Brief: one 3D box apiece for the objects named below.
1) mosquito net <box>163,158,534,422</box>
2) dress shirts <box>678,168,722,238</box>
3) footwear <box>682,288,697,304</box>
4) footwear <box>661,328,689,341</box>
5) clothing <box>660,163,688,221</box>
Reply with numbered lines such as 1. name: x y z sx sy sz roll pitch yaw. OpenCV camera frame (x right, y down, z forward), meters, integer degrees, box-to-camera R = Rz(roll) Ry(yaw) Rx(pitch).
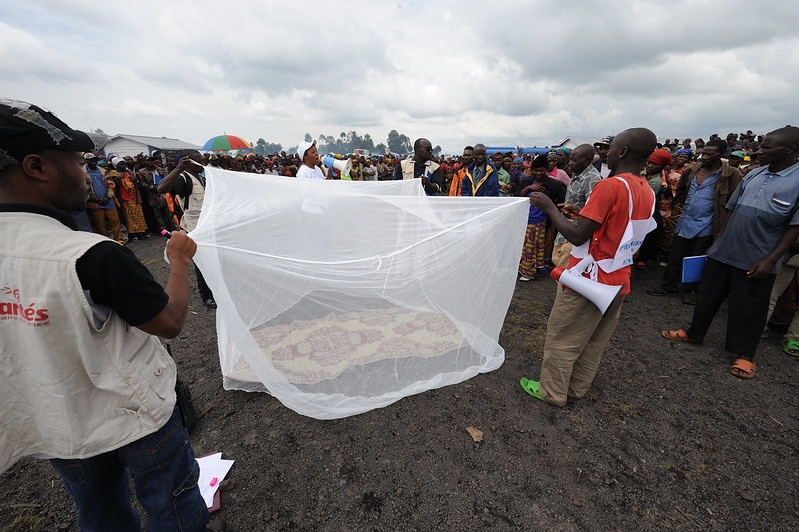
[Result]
1. mosquito net: -0.342 0.076 3.801 2.776 1.573 1.917 -2 14 -2
2. dress shirts: 3.512 -0.747 5.004 0.561 0.769 0.298 12 17 43
3. footwear: 3.490 0.352 5.132 0.249 0.103 0.086 -20 28 -14
4. footwear: 2.824 0.692 4.374 0.212 0.066 0.101 6 31 24
5. clothing: 3.902 -1.016 6.227 0.328 0.937 0.285 -5 26 16
